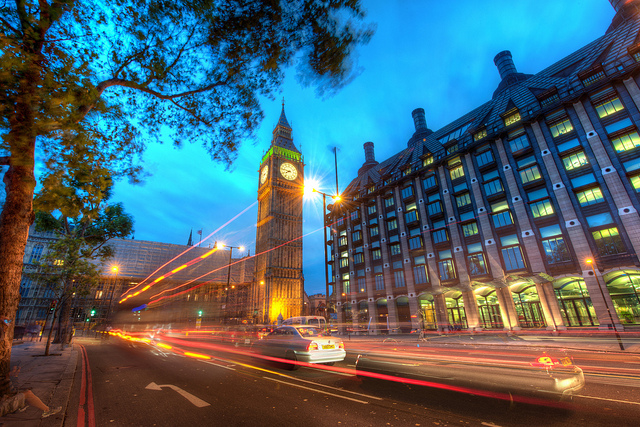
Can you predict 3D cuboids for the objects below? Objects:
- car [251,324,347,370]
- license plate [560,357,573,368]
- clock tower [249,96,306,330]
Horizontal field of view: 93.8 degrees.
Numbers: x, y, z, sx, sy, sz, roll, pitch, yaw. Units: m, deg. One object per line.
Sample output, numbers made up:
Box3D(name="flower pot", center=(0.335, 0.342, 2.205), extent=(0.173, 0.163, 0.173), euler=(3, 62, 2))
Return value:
Box3D(name="car", center=(-1.270, 7.465, 16.646), extent=(4.602, 2.189, 1.569), euler=(-11, -17, 38))
Box3D(name="license plate", center=(9.393, 5.736, 11.486), extent=(0.343, 0.319, 0.337), euler=(-13, -33, -13))
Box3D(name="clock tower", center=(-11.054, -2.545, 79.030), extent=(15.578, 58.149, 16.149), euler=(-1, -7, 17))
